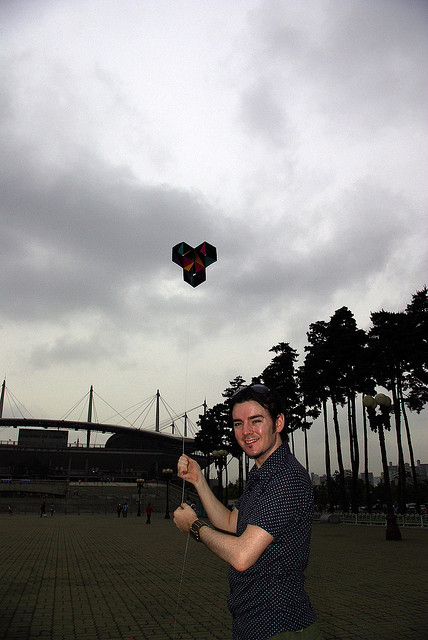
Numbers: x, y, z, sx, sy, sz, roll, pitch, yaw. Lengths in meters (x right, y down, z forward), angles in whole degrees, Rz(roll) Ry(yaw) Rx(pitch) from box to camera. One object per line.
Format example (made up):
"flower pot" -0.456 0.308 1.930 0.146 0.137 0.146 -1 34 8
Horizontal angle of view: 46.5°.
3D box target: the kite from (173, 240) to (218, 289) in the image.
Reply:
"kite" -0.281 -0.779 7.106 0.569 0.619 0.273 7 -16 -27
